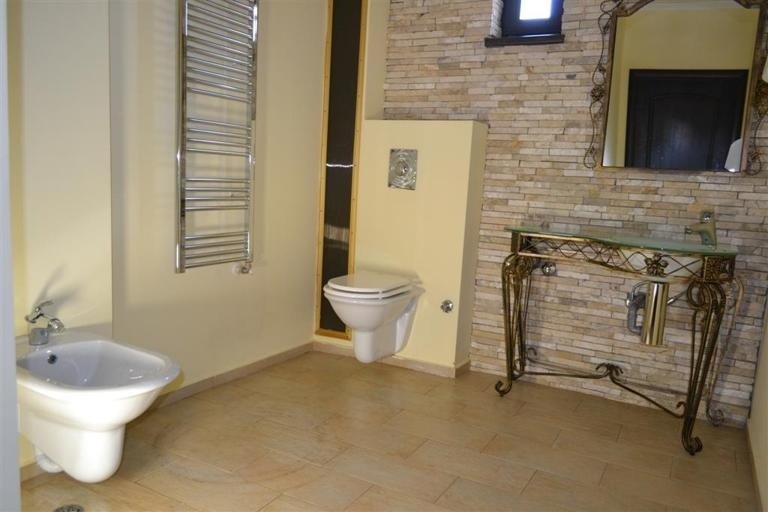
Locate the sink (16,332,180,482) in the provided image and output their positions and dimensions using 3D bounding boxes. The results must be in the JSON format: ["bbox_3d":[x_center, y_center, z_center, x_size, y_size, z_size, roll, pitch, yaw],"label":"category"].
[{"bbox_3d":[-1.348,0.732,2.621,0.830,0.555,0.591,13,16,28],"label":"sink"}]

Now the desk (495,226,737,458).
[{"bbox_3d":[1.511,0.541,3.417,0.682,0.976,1.228,-10,14,-44],"label":"desk"}]

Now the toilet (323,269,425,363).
[{"bbox_3d":[-0.132,0.389,3.902,0.614,0.585,0.741,5,8,31],"label":"toilet"}]

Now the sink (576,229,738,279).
[{"bbox_3d":[1.623,-0.005,3.225,0.779,0.196,0.559,11,15,31],"label":"sink"}]
